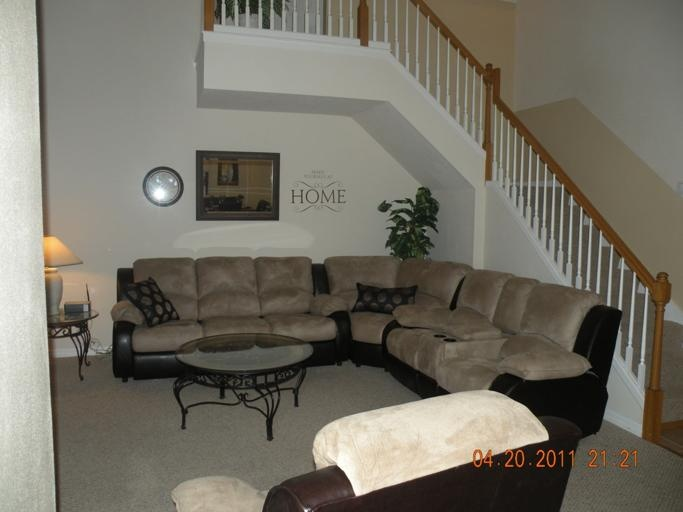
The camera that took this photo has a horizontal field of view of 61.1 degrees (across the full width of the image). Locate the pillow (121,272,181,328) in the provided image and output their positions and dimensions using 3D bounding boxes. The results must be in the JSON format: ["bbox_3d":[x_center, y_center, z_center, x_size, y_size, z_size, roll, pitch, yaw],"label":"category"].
[{"bbox_3d":[-1.845,0.451,5.645,0.340,0.395,0.464,4,10,23],"label":"pillow"}]

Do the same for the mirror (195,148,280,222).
[{"bbox_3d":[-1.235,-0.829,6.569,0.759,0.700,0.058,-2,8,-15],"label":"mirror"}]

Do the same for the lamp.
[{"bbox_3d":[-2.790,0.185,5.513,0.497,0.712,0.490,-6,2,-39],"label":"lamp"}]

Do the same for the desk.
[{"bbox_3d":[-2.616,0.816,5.665,0.404,0.673,1.154,-4,10,-23],"label":"desk"}]
